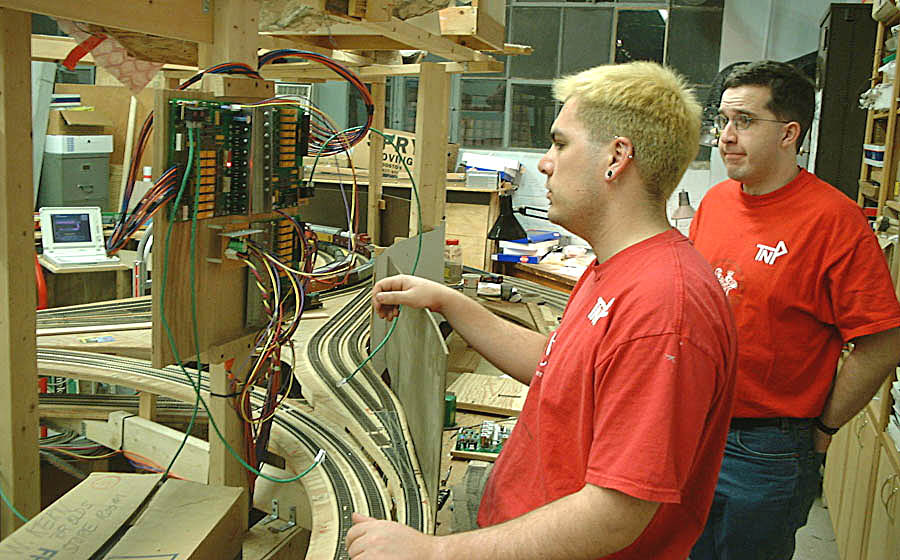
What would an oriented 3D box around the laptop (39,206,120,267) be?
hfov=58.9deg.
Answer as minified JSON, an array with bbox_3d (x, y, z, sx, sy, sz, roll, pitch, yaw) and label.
[{"bbox_3d":[-2.794,-0.335,6.016,0.523,0.417,0.511,-4,9,-27],"label":"laptop"}]

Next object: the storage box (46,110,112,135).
[{"bbox_3d":[-3.072,-1.304,6.574,0.264,0.121,0.371,14,14,39],"label":"storage box"}]

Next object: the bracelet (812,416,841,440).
[{"bbox_3d":[1.536,0.598,3.243,0.080,0.079,0.056,29,-23,22],"label":"bracelet"}]
